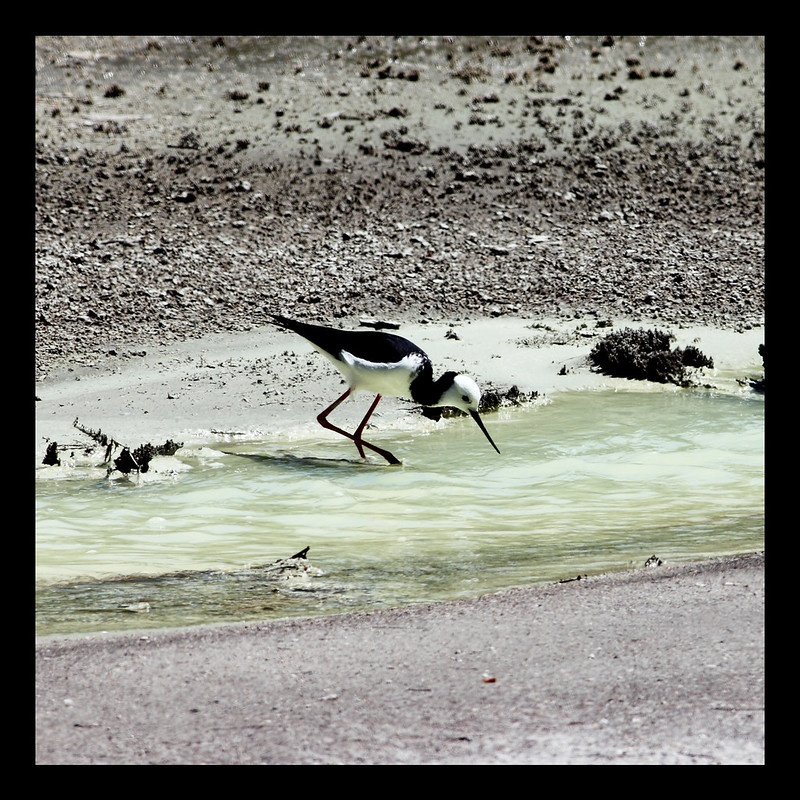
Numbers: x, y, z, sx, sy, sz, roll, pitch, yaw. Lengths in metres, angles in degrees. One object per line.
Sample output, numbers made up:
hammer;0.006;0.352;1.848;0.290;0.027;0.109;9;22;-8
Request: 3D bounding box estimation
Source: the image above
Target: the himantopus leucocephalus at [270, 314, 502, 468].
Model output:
himantopus leucocephalus;-0.211;-0.059;10.710;2.395;1.074;0.598;21;12;28
